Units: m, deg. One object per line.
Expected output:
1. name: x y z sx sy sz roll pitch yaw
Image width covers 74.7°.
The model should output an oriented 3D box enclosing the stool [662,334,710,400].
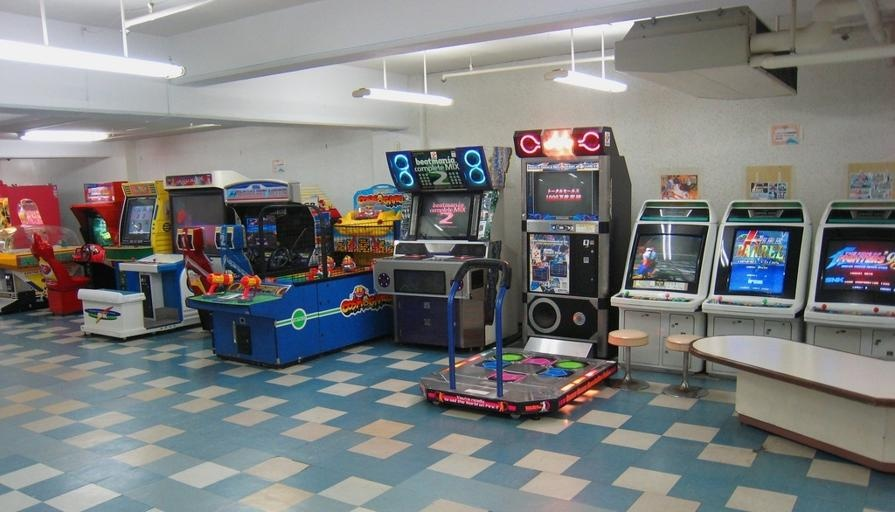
1. stool: 3.256 1.510 8.127 0.865 0.917 0.805 1 2 15

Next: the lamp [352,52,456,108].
1. lamp: -0.691 -3.087 10.347 1.572 0.838 2.674 -3 10 0

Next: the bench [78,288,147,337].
1. bench: -6.130 1.054 10.813 1.148 0.859 0.482 2 13 24

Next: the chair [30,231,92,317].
1. chair: -8.196 0.402 12.327 0.888 1.695 0.429 -2 13 9

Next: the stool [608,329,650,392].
1. stool: 2.576 1.444 8.435 0.511 0.784 0.597 -4 12 -2

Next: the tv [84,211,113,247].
1. tv: -8.070 -0.638 13.521 0.610 0.732 0.197 2 14 25

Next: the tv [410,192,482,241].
1. tv: 0.018 -0.567 10.327 1.724 0.981 0.823 0 -4 24

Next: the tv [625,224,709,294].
1. tv: 3.403 0.076 8.946 1.173 0.915 0.588 3 -14 23

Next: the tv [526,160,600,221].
1. tv: 1.898 -1.069 9.408 1.155 0.780 0.381 3 8 25

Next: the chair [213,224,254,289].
1. chair: -3.491 -0.069 9.662 0.471 0.874 0.559 -7 13 -16

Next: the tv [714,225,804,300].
1. tv: 4.571 0.128 8.488 1.145 1.075 0.421 6 -13 26
